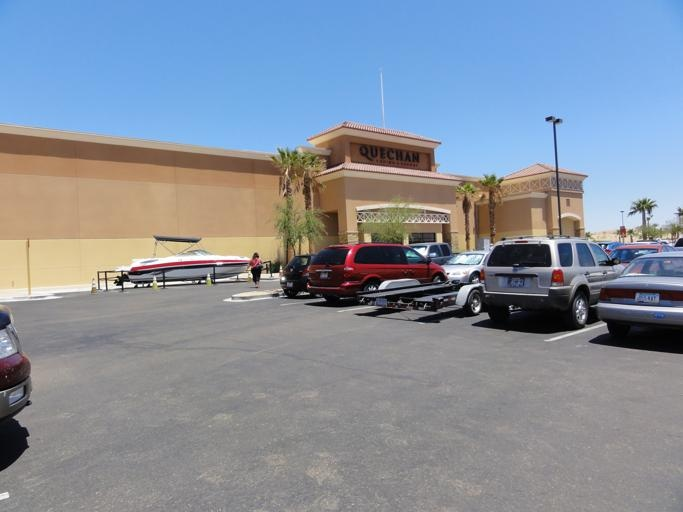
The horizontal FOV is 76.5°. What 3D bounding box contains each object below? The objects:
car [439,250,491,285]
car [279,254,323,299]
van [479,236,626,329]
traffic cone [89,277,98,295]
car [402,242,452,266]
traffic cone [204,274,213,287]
[{"bbox_3d":[4.657,0.414,16.222,0.863,0.742,1.966,-3,-4,38],"label":"car"},{"bbox_3d":[-1.018,1.029,18.234,1.611,1.659,3.221,-4,-11,36],"label":"car"},{"bbox_3d":[5.145,0.434,10.597,1.746,1.417,3.073,0,6,45],"label":"van"},{"bbox_3d":[-15.930,1.953,27.852,0.652,0.921,0.647,4,-2,-32],"label":"traffic cone"},{"bbox_3d":[4.759,-0.127,22.739,2.073,1.116,1.265,2,-3,-41],"label":"car"},{"bbox_3d":[-8.632,1.594,28.113,0.580,1.018,0.587,0,-5,-14],"label":"traffic cone"}]
